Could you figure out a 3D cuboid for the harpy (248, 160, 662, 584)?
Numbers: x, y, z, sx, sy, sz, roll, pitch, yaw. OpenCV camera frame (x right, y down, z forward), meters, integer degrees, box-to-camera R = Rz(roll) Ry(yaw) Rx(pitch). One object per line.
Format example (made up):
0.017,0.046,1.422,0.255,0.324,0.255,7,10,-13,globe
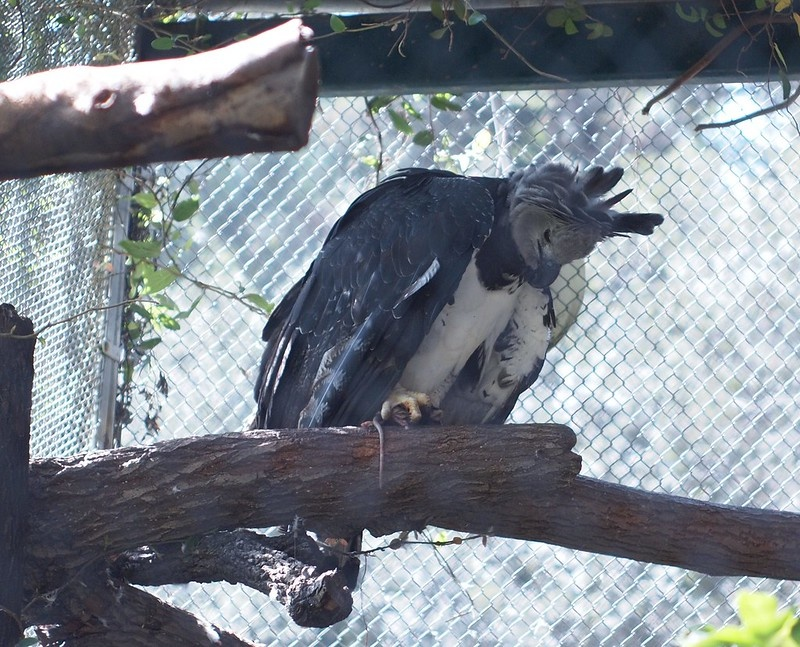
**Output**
0.083,-0.002,6.468,1.609,0.834,0.777,-23,66,13,harpy
